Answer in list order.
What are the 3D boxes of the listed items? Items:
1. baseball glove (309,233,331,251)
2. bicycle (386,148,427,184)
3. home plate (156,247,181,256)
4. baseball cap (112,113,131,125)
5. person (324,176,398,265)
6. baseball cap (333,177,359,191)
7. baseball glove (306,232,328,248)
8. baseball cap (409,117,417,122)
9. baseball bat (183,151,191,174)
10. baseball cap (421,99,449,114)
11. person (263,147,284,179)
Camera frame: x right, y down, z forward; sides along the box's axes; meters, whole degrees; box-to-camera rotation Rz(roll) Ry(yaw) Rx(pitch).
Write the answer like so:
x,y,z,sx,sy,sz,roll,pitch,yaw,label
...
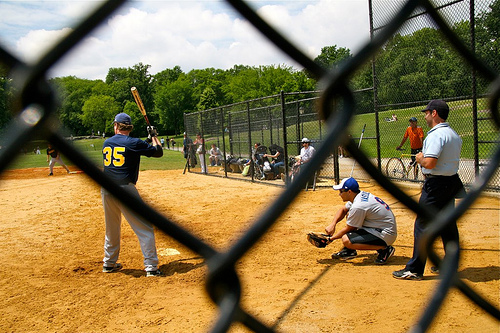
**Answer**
x,y,z,sx,sy,sz,roll,pitch,yaw,label
1.095,1.179,6.767,0.401,0.219,0.175,-1,10,-3,baseball glove
4.662,-0.033,12.528,0.681,0.912,1.602,-7,8,-26,bicycle
-1.422,1.486,7.411,0.369,0.034,0.432,-3,6,-17,home plate
-1.939,-0.723,6.472,0.253,0.180,0.328,-3,6,-17,baseball cap
1.688,0.869,6.629,1.185,1.252,0.997,0,2,37,person
1.456,0.269,6.468,0.349,0.181,0.261,2,7,33,baseball cap
1.037,1.163,6.683,0.348,0.152,0.182,31,20,-33,baseball glove
4.519,-1.307,11.826,0.188,0.059,0.185,-3,7,5,baseball cap
-2.853,-0.257,19.405,0.185,1.309,0.157,9,-33,15,baseball bat
2.448,-0.789,5.587,0.235,0.119,0.178,20,18,37,baseball cap
0.831,-0.104,14.408,0.594,1.093,0.597,-2,6,1,person
